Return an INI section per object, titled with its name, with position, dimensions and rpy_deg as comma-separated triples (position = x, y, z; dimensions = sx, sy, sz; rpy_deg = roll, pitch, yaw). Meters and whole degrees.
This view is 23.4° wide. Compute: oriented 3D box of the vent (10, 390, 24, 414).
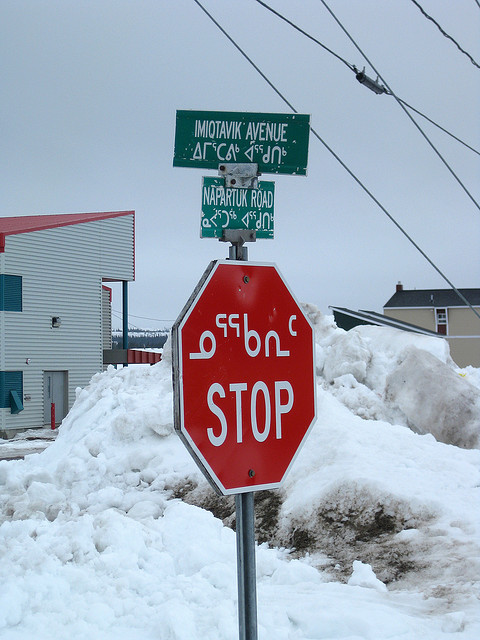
[vent]
position = -5.394, 1.981, 28.048
dimensions = 0.248, 0.641, 0.390
rpy_deg = 0, 12, 14

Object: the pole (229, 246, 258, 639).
[pole]
position = -0.003, 0.959, 7.756
dimensions = 0.325, 2.217, 0.331
rpy_deg = -2, -2, 41

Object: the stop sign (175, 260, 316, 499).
[stop sign]
position = 0.056, 0.368, 7.769
dimensions = 1.079, 1.496, 0.417
rpy_deg = -12, 15, -36
